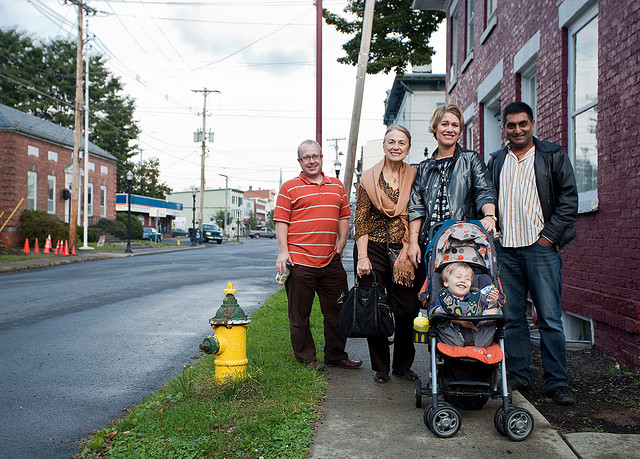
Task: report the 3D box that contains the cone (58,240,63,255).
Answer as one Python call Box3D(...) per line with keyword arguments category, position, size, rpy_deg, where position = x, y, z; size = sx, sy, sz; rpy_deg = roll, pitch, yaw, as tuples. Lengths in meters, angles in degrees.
Box3D(category="cone", position=(-12.380, 0.913, 25.950), size=(0.213, 0.449, 0.817), rpy_deg=(-9, 9, -21))

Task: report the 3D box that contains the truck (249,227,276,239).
Box3D(category="truck", position=(-8.378, 0.574, 78.846), size=(3.716, 1.402, 1.701), rpy_deg=(-3, 4, -13))

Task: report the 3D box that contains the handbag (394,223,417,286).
Box3D(category="handbag", position=(0.912, 0.257, 5.881), size=(0.252, 0.889, 0.178), rpy_deg=(6, 38, 9))

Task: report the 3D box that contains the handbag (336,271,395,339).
Box3D(category="handbag", position=(0.510, 0.856, 6.047), size=(0.753, 0.933, 0.273), rpy_deg=(-1, -16, 10))

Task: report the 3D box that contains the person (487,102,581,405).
Box3D(category="person", position=(2.207, 0.214, 5.639), size=(0.819, 3.029, 0.841), rpy_deg=(-2, 9, 26))

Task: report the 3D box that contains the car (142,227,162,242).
Box3D(category="car", position=(-16.133, 0.359, 51.524), size=(1.360, 1.141, 2.432), rpy_deg=(-1, -6, 24))

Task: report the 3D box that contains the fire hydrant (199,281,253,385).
Box3D(category="fire hydrant", position=(-1.000, 1.101, 5.776), size=(0.526, 1.008, 0.362), rpy_deg=(-8, 9, -11))

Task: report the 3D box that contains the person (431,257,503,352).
Box3D(category="person", position=(1.375, 0.750, 5.276), size=(0.592, 0.885, 0.454), rpy_deg=(2, -13, 1))

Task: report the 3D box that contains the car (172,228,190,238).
Box3D(category="car", position=(-17.335, 0.550, 68.968), size=(2.586, 1.031, 1.243), rpy_deg=(-3, 2, -2))

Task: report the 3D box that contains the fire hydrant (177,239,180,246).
Box3D(category="fire hydrant", position=(-12.418, 1.139, 47.736), size=(0.431, 0.502, 0.433), rpy_deg=(-5, 7, -16))
